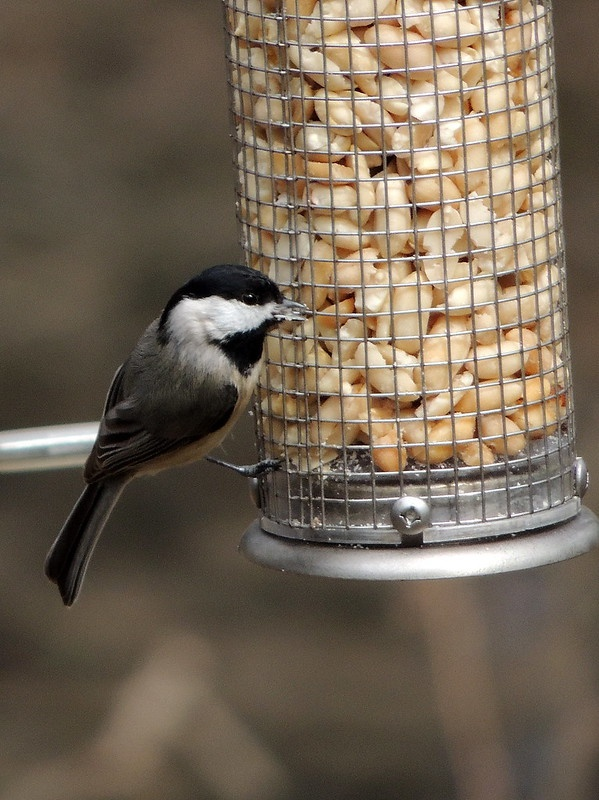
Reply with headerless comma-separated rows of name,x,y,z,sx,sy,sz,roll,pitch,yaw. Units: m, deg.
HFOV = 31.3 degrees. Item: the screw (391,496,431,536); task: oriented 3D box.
screw,0.214,0.225,2.081,0.074,0.069,0.026,-6,-10,9
